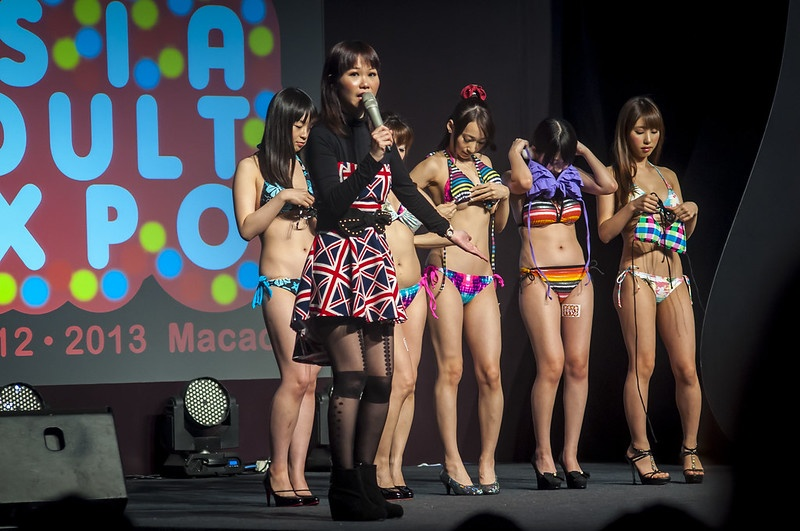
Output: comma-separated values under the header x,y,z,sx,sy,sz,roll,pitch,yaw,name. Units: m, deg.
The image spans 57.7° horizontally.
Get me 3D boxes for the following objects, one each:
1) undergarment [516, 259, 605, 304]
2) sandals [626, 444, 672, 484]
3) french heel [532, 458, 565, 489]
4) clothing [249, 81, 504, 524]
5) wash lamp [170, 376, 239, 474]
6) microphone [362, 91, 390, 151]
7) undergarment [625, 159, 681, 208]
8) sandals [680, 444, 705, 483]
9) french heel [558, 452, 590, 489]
x,y,z,sx,sy,sz,roll,pitch,yaw,name
0.995,0.093,4.650,0.426,0.208,0.426,-2,5,-3,undergarment
1.541,1.265,4.656,0.158,0.255,0.337,2,-6,-41,sandals
0.889,1.274,4.399,0.128,0.081,0.208,4,6,-29,french heel
-0.179,0.154,3.274,0.610,2.003,0.488,-6,-6,34,clothing
-1.365,1.136,5.049,0.527,0.726,0.384,6,-14,-30,wash lamp
-0.109,-0.667,3.164,0.078,0.352,0.083,-11,-30,-8,microphone
1.631,-0.515,4.760,0.207,0.370,0.279,-32,39,-27,undergarment
1.818,1.239,4.531,0.127,0.214,0.144,-4,-6,20,sandals
1.060,1.257,4.460,0.108,0.085,0.278,2,15,-11,french heel
